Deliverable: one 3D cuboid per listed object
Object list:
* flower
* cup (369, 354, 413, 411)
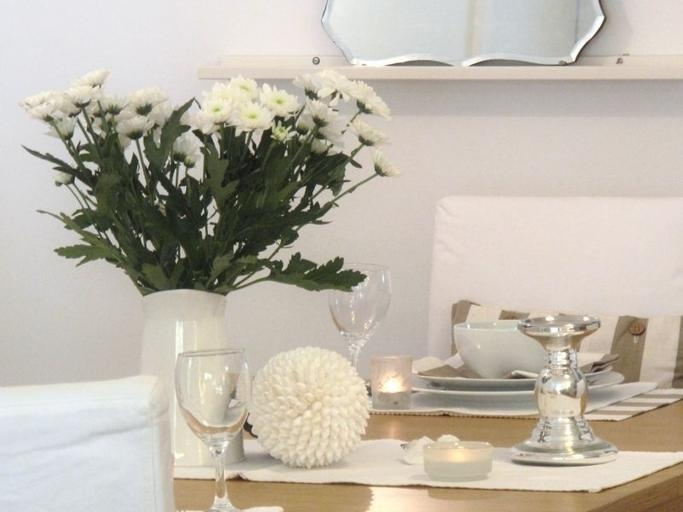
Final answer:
[{"bbox_3d":[-0.169,-0.103,0.891,0.483,0.290,0.297,-4,1,5],"label":"flower"},{"bbox_3d":[0.083,0.216,1.070,0.079,0.101,0.082,-1,0,0],"label":"cup"}]
